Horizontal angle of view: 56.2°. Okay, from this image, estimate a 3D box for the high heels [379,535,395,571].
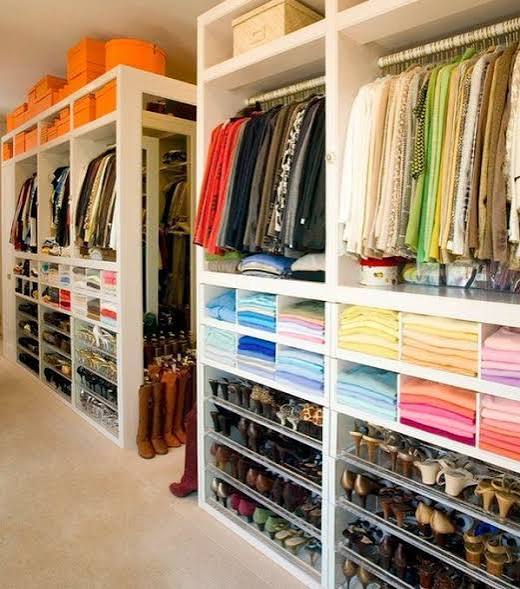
[{"bbox_3d":[0.439,0.882,1.656,0.056,0.122,0.052,-2,6,-14],"label":"high heels"}]

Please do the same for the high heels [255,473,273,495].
[{"bbox_3d":[0.024,0.832,2.136,0.041,0.051,0.120,0,-1,17],"label":"high heels"}]

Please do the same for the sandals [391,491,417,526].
[{"bbox_3d":[0.492,0.739,1.640,0.081,0.047,0.132,1,17,13],"label":"sandals"}]

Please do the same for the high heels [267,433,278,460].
[{"bbox_3d":[0.057,0.670,2.176,0.048,0.037,0.123,6,13,-7],"label":"high heels"}]

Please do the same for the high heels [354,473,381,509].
[{"bbox_3d":[0.393,0.701,1.755,0.060,0.083,0.177,-4,-1,18],"label":"high heels"}]

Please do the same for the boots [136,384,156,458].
[{"bbox_3d":[-0.730,0.802,3.121,0.113,0.425,0.228,-2,6,-13],"label":"boots"}]

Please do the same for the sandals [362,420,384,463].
[{"bbox_3d":[0.402,0.530,1.741,0.055,0.065,0.165,-3,11,13],"label":"sandals"}]

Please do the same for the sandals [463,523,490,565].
[{"bbox_3d":[0.679,0.766,1.533,0.071,0.072,0.184,1,2,34],"label":"sandals"}]

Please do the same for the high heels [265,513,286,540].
[{"bbox_3d":[0.066,1.022,2.145,0.046,0.058,0.130,-1,-1,12],"label":"high heels"}]

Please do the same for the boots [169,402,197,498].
[{"bbox_3d":[-0.409,0.841,2.613,0.151,0.476,0.114,-2,6,-10],"label":"boots"}]

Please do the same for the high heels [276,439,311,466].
[{"bbox_3d":[0.179,0.692,2.132,0.207,0.108,0.074,18,-11,-29],"label":"high heels"}]

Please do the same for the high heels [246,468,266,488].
[{"bbox_3d":[-0.019,0.817,2.175,0.045,0.047,0.120,-3,-2,14],"label":"high heels"}]

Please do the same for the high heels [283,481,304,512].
[{"bbox_3d":[0.138,0.844,2.037,0.067,0.065,0.129,0,1,7],"label":"high heels"}]

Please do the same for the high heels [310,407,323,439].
[{"bbox_3d":[0.228,0.496,1.925,0.054,0.134,0.042,-1,1,4],"label":"high heels"}]

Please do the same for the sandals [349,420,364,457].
[{"bbox_3d":[0.366,0.518,1.810,0.045,0.056,0.145,-1,10,13],"label":"sandals"}]

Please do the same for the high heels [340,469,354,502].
[{"bbox_3d":[0.322,0.693,1.784,0.040,0.100,0.059,-5,3,-25],"label":"high heels"}]

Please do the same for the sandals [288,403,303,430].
[{"bbox_3d":[0.148,0.505,2.013,0.061,0.095,0.198,0,-10,-3],"label":"sandals"}]

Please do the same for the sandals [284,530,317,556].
[{"bbox_3d":[0.174,1.034,2.029,0.059,0.059,0.149,-9,-6,35],"label":"sandals"}]

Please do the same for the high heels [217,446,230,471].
[{"bbox_3d":[-0.174,0.779,2.372,0.052,0.127,0.044,-3,3,-14],"label":"high heels"}]

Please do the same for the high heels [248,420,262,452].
[{"bbox_3d":[-0.028,0.657,2.234,0.050,0.155,0.063,0,20,-8],"label":"high heels"}]

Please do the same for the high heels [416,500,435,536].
[{"bbox_3d":[0.519,0.717,1.562,0.036,0.060,0.116,-9,8,13],"label":"high heels"}]

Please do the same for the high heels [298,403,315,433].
[{"bbox_3d":[0.192,0.490,1.960,0.051,0.128,0.043,0,1,-24],"label":"high heels"}]

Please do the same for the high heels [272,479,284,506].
[{"bbox_3d":[0.081,0.837,2.081,0.037,0.119,0.050,-4,-9,10],"label":"high heels"}]

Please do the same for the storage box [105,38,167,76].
[{"bbox_3d":[-0.871,-1.652,3.395,0.400,0.216,0.209,-2,6,-9],"label":"storage box"}]

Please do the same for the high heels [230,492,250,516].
[{"bbox_3d":[-0.093,0.981,2.277,0.061,0.052,0.122,10,4,-13],"label":"high heels"}]

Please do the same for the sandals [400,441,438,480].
[{"bbox_3d":[0.530,0.556,1.637,0.077,0.058,0.140,3,5,13],"label":"sandals"}]

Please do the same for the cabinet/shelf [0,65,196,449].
[{"bbox_3d":[-1.887,-0.398,4.441,3.562,2.523,0.735,5,8,42],"label":"cabinet/shelf"}]

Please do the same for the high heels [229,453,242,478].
[{"bbox_3d":[-0.117,0.801,2.322,0.055,0.128,0.044,-3,3,-3],"label":"high heels"}]

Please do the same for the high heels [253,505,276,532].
[{"bbox_3d":[0.020,1.007,2.178,0.068,0.055,0.130,1,2,12],"label":"high heels"}]

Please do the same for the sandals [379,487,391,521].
[{"bbox_3d":[0.432,0.720,1.691,0.035,0.116,0.045,-9,-30,20],"label":"sandals"}]

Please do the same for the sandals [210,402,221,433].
[{"bbox_3d":[-0.217,0.626,2.480,0.048,0.089,0.131,-2,1,-9],"label":"sandals"}]

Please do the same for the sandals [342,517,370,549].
[{"bbox_3d":[0.354,0.871,1.796,0.086,0.081,0.110,0,-14,9],"label":"sandals"}]
